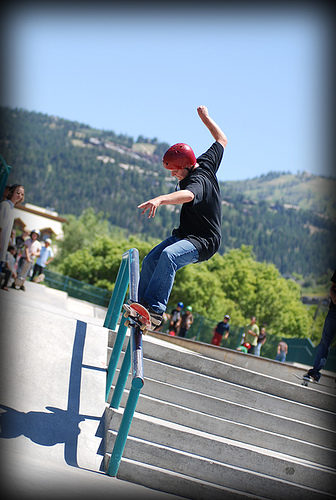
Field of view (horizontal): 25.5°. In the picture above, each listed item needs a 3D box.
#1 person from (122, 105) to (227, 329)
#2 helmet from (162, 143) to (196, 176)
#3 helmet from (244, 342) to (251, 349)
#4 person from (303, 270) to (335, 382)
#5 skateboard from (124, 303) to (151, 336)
[{"bbox_3d":[0.097,-0.336,5.974,0.590,1.754,1.352,11,2,18],"label":"person"},{"bbox_3d":[0.067,-0.752,6.203,0.311,0.304,0.243,-1,10,-43],"label":"helmet"},{"bbox_3d":[1.628,1.944,15.268,0.076,0.107,0.180,9,3,-32],"label":"helmet"},{"bbox_3d":[1.738,0.850,8.246,0.270,1.230,0.911,10,2,11],"label":"person"},{"bbox_3d":[-0.208,0.510,5.306,0.157,0.089,0.223,25,-34,16],"label":"skateboard"}]
